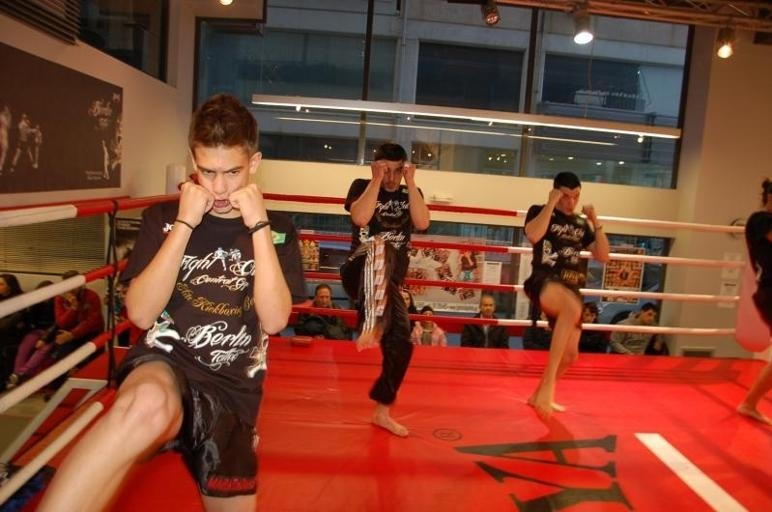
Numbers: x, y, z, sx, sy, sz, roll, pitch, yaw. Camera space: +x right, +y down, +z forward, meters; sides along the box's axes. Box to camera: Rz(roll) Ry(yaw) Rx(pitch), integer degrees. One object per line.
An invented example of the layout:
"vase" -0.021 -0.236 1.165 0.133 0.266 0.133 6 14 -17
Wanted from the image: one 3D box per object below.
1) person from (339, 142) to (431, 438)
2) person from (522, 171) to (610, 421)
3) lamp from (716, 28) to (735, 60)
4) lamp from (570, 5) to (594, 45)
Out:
"person" -0.014 0.168 3.866 0.583 1.839 0.683 3 7 -2
"person" 1.250 0.222 4.215 0.554 1.650 0.950 6 7 27
"lamp" 3.326 -2.100 5.696 0.132 0.296 0.269 6 7 26
"lamp" 1.877 -2.225 5.539 0.170 0.411 0.353 5 7 13
